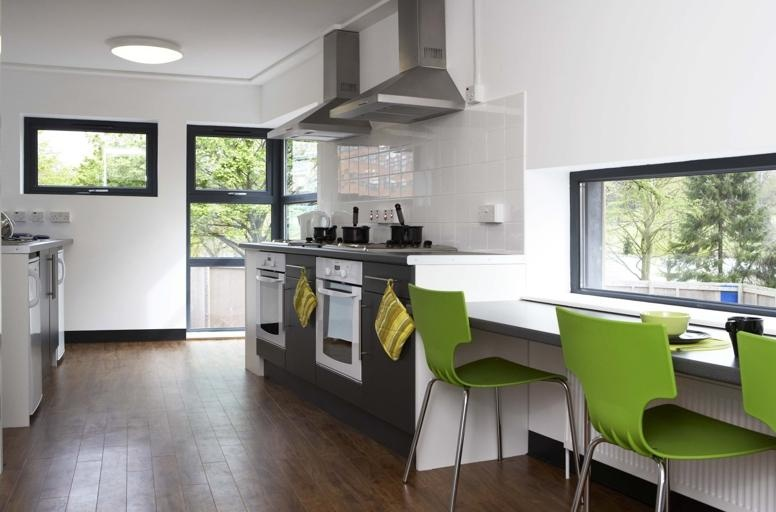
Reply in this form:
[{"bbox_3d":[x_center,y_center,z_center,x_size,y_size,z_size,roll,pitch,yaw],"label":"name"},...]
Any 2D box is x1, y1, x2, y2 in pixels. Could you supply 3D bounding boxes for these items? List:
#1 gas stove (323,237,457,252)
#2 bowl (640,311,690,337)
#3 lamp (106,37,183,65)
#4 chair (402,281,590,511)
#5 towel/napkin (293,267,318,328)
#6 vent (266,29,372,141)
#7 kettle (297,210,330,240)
[{"bbox_3d":[-0.025,-0.063,3.776,0.929,0.070,0.693,2,5,37],"label":"gas stove"},{"bbox_3d":[1.100,0.251,2.085,0.148,0.063,0.148,-1,3,0],"label":"bowl"},{"bbox_3d":[-2.326,-1.971,5.083,0.671,0.144,0.374,-2,4,-17],"label":"lamp"},{"bbox_3d":[0.446,0.651,3.217,1.088,1.474,0.944,-1,1,-20],"label":"chair"},{"bbox_3d":[-0.628,0.321,3.963,0.096,0.446,0.344,-3,5,-27],"label":"towel/napkin"},{"bbox_3d":[-0.713,-1.457,4.930,0.868,1.167,1.223,1,2,-25],"label":"vent"},{"bbox_3d":[-0.697,-0.300,4.880,0.342,0.343,0.196,-2,3,-17],"label":"kettle"}]
